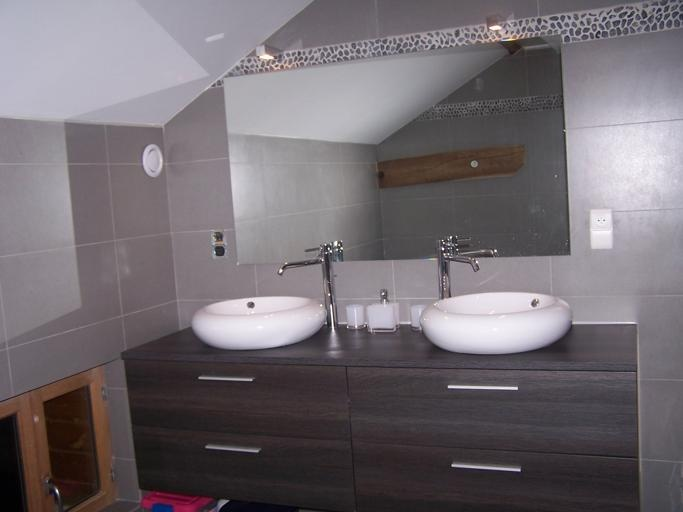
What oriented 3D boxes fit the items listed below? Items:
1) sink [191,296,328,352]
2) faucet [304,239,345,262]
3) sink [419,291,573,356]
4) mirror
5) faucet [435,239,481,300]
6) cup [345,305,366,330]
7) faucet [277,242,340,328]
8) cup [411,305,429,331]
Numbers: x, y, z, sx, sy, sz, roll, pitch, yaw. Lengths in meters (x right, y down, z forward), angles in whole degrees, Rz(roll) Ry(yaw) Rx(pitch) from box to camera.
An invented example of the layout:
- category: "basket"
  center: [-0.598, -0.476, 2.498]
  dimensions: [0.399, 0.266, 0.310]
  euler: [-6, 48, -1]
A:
- category: "sink"
  center: [-0.408, 0.305, 2.536]
  dimensions: [0.529, 0.162, 0.527]
  euler: [-9, 10, -33]
- category: "faucet"
  center: [-0.078, -0.036, 2.725]
  dimensions: [0.128, 0.085, 0.096]
  euler: [-8, 9, -7]
- category: "sink"
  center: [0.615, 0.272, 2.219]
  dimensions: [0.570, 0.170, 0.445]
  euler: [-6, 9, -17]
- category: "mirror"
  center: [0.323, -0.525, 2.584]
  dimensions: [1.098, 0.699, 0.015]
  euler: [-3, 10, 15]
- category: "faucet"
  center: [0.534, 0.056, 2.485]
  dimensions: [0.194, 0.278, 0.248]
  euler: [-1, 9, 14]
- category: "cup"
  center: [0.066, 0.296, 2.615]
  dimensions: [0.101, 0.119, 0.104]
  euler: [-1, 2, 0]
- category: "faucet"
  center: [-0.160, 0.165, 2.633]
  dimensions: [0.317, 0.420, 0.280]
  euler: [-7, 0, -26]
- category: "cup"
  center: [0.343, 0.281, 2.490]
  dimensions: [0.096, 0.114, 0.098]
  euler: [1, 10, 0]
